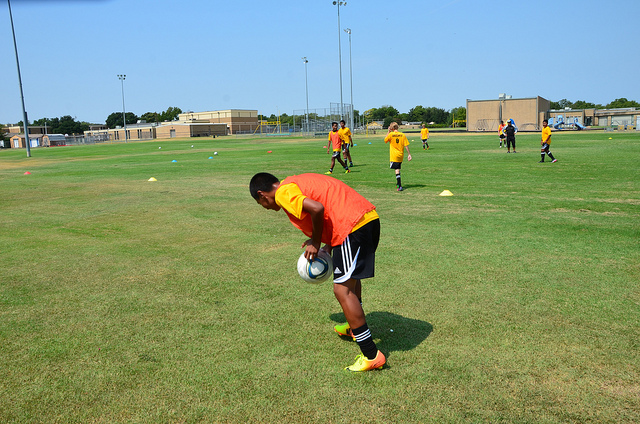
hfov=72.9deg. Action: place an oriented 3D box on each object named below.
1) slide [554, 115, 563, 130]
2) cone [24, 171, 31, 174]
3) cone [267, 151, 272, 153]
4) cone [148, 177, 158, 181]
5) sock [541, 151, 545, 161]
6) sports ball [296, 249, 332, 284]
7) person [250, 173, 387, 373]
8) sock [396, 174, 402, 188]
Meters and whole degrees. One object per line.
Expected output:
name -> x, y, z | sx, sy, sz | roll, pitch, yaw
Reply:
slide -> 41.384, -15.470, 75.106 | 1.152, 2.032, 5.835 | 6, 16, 28
cone -> -14.195, -1.906, 21.075 | 0.295, 0.119, 0.290 | 1, 2, -7
cone -> -3.711, -4.452, 32.079 | 0.205, 0.078, 0.205 | -1, 1, 12
cone -> -6.421, -1.267, 16.695 | 0.262, 0.086, 0.249 | 0, 3, 1
sock -> 9.940, -2.519, 19.356 | 0.094, 0.436, 0.488 | 4, 15, 21
sports ball -> -0.036, 0.573, 4.887 | 0.414, 0.407, 0.406 | 7, 4, 0
person -> 0.073, 0.603, 4.560 | 1.288, 1.958, 0.687 | 1, 15, 9
sock -> 2.410, -0.982, 13.259 | 0.137, 0.401, 0.377 | 1, 14, 10
